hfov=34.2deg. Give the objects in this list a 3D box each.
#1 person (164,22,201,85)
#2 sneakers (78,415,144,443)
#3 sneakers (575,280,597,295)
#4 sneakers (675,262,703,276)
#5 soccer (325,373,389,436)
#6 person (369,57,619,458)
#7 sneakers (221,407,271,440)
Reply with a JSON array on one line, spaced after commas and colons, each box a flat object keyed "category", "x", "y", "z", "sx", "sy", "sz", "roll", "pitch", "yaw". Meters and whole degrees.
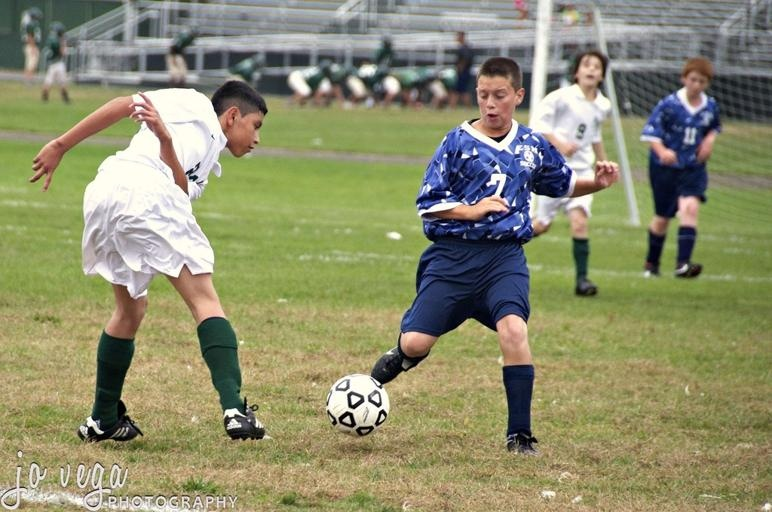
[{"category": "person", "x": -5.435, "y": -5.380, "z": 33.496, "sx": 1.079, "sy": 0.709, "sz": 2.738, "roll": -5, "pitch": 22, "yaw": 0}, {"category": "sneakers", "x": -2.187, "y": 1.380, "z": 10.050, "sx": 0.542, "sy": 0.223, "sz": 0.189, "roll": 1, "pitch": 9, "yaw": -15}, {"category": "sneakers", "x": 2.159, "y": 0.348, "z": 13.611, "sx": 0.108, "sy": 0.122, "sz": 0.275, "roll": -1, "pitch": -4, "yaw": -23}, {"category": "sneakers", "x": 2.875, "y": 0.133, "z": 11.938, "sx": 0.080, "sy": 0.098, "sz": 0.221, "roll": -20, "pitch": -3, "yaw": -44}, {"category": "soccer", "x": -0.220, "y": 1.191, "z": 10.216, "sx": 0.493, "sy": 0.469, "sz": 0.459, "roll": -11, "pitch": -42, "yaw": 32}, {"category": "person", "x": 0.724, "y": -0.051, "z": 10.209, "sx": 1.256, "sy": 3.108, "sz": 0.839, "roll": 5, "pitch": 11, "yaw": 8}, {"category": "sneakers", "x": -1.108, "y": 1.324, "z": 9.883, "sx": 0.167, "sy": 0.196, "sz": 0.413, "roll": -2, "pitch": -5, "yaw": 18}]
